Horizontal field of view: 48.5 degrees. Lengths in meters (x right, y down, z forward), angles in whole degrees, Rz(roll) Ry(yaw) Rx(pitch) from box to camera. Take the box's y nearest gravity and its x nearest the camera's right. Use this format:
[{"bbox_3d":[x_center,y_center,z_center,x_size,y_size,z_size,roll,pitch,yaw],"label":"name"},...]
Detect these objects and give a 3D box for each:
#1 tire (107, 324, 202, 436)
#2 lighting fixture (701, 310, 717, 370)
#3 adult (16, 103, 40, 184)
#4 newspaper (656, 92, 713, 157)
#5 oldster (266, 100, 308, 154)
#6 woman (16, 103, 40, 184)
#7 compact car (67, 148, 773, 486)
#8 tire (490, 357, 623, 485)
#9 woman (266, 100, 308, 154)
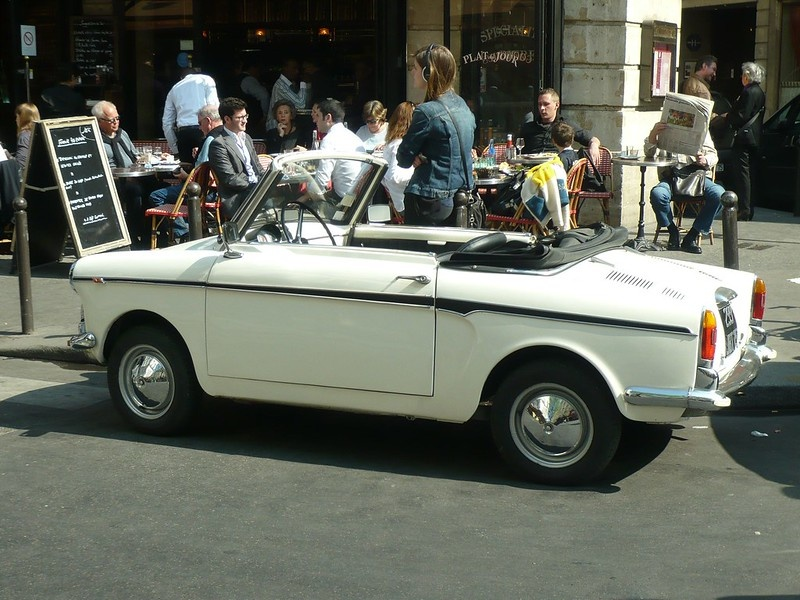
[{"bbox_3d":[-1.723,0.552,6.320,0.727,0.781,0.268,1,7,18],"label":"tire"},{"bbox_3d":[1.809,0.227,5.244,0.069,0.324,0.098,9,16,36],"label":"lighting fixture"},{"bbox_3d":[-5.181,-2.234,12.370,0.329,0.932,0.790,-5,14,-22],"label":"adult"},{"bbox_3d":[3.606,-2.242,11.500,0.709,0.759,0.746,5,17,12],"label":"newspaper"},{"bbox_3d":[-1.811,-2.708,14.326,0.680,0.894,0.454,-1,-3,6],"label":"oldster"},{"bbox_3d":[-5.176,-2.232,12.362,0.331,0.932,0.770,-5,14,-22],"label":"woman"},{"bbox_3d":[0.148,0.005,6.517,4.249,1.877,2.292,7,8,20],"label":"compact car"},{"bbox_3d":[0.968,0.719,5.480,0.719,0.771,0.266,-2,10,17],"label":"tire"},{"bbox_3d":[-1.816,-2.709,14.323,0.687,0.908,0.478,-1,-2,7],"label":"woman"}]
